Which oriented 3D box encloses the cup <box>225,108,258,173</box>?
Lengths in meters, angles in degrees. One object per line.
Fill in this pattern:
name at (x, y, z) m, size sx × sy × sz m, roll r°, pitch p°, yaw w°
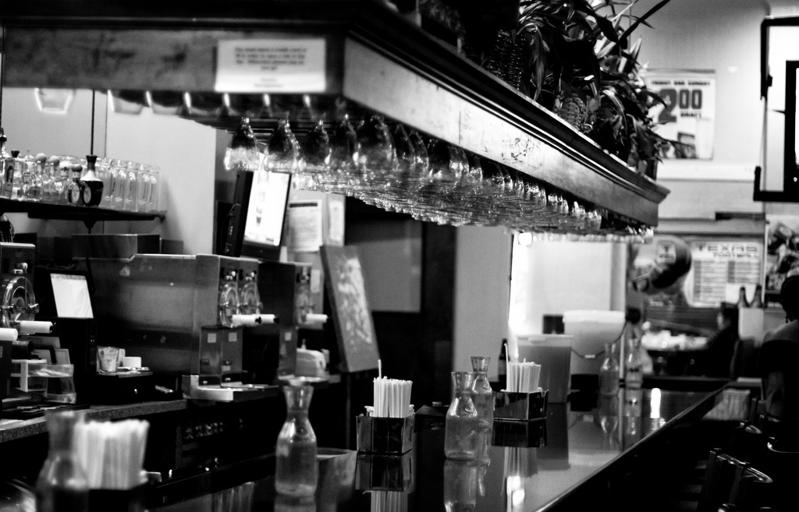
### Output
cup at (-0.648, -0.446, 3.533) m, size 0.157 × 0.244 × 0.168 m, roll 5°, pitch -6°, yaw 0°
